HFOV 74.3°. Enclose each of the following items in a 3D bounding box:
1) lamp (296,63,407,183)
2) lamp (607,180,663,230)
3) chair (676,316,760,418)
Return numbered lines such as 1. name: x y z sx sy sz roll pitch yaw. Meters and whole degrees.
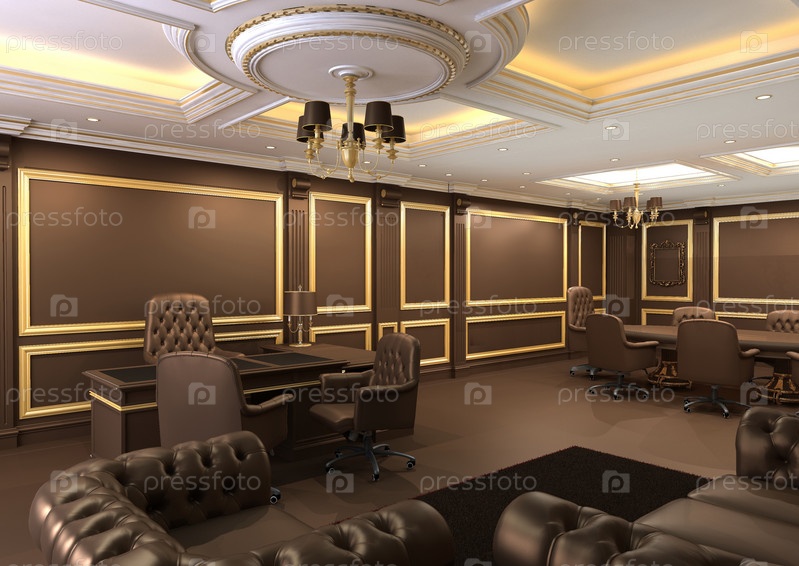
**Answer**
1. lamp: -0.374 -1.284 4.073 0.887 0.624 0.827 -10 27 -39
2. lamp: 3.864 -1.307 8.556 1.088 0.785 0.923 0 1 -3
3. chair: 3.861 0.957 6.402 0.779 1.093 1.137 2 4 31
